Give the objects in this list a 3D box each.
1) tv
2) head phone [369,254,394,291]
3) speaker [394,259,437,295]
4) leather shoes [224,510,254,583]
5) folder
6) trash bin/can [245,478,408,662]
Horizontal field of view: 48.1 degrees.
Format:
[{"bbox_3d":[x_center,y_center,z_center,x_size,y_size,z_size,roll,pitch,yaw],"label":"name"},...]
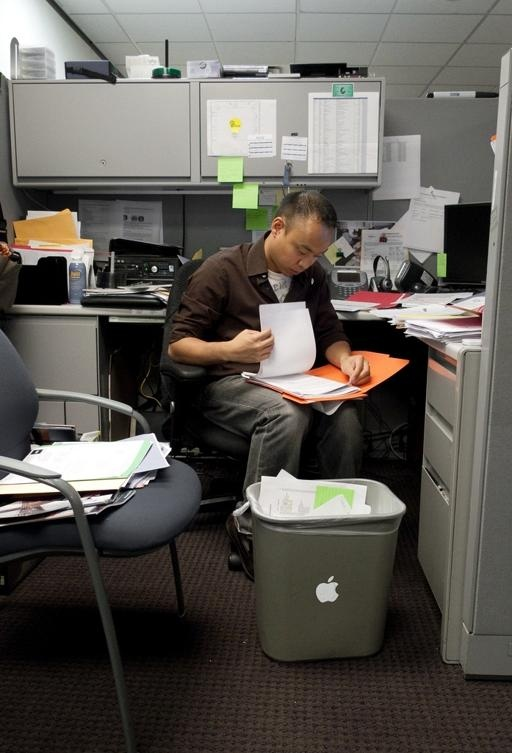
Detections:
[{"bbox_3d":[0.745,-0.470,2.045,0.030,0.278,0.170,-7,12,-41],"label":"tv"},{"bbox_3d":[0.477,-0.390,2.174,0.056,0.184,0.145,-3,6,-9],"label":"head phone"},{"bbox_3d":[0.563,-0.348,2.042,0.164,0.105,0.039,27,-16,-31],"label":"speaker"},{"bbox_3d":[-0.037,0.397,1.353,0.058,0.132,0.180,0,18,-3],"label":"leather shoes"},{"bbox_3d":[0.190,0.007,1.357,0.279,0.050,0.179,-20,29,-30],"label":"folder"},{"bbox_3d":[0.107,0.344,1.164,0.341,0.323,0.283,1,8,-4],"label":"trash bin/can"}]
